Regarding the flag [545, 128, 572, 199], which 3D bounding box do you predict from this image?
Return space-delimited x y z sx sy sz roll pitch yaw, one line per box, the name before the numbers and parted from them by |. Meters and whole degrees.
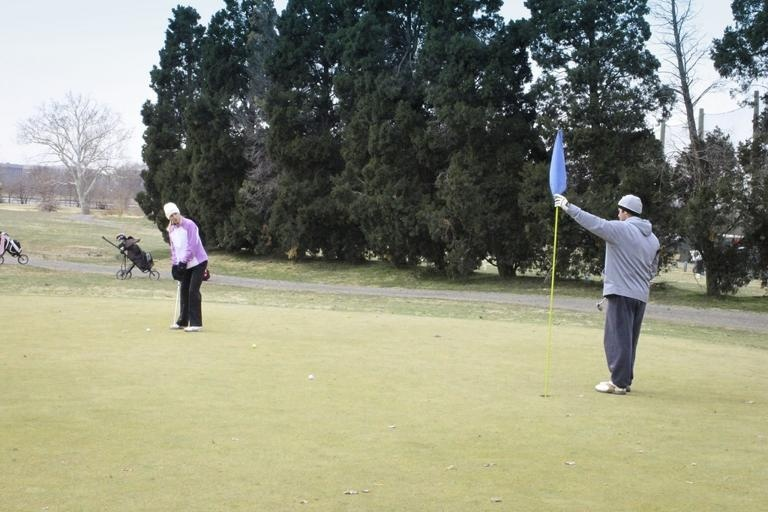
flag | 3.461 -1.831 18.550 0.344 1.307 0.364 3 -1 27
